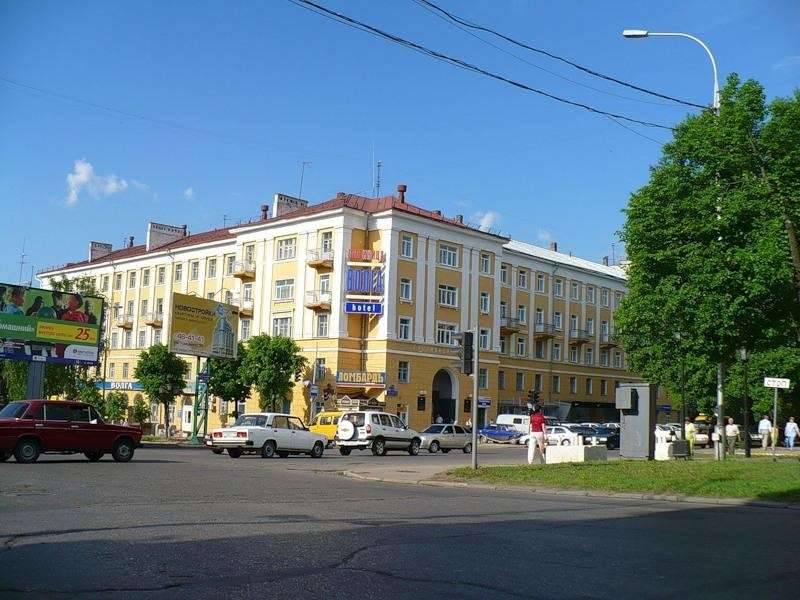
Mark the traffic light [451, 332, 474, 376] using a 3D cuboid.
[{"bbox_3d":[1.821,1.613,23.693,0.461,1.420,0.768,-18,-20,25],"label":"traffic light"}]
